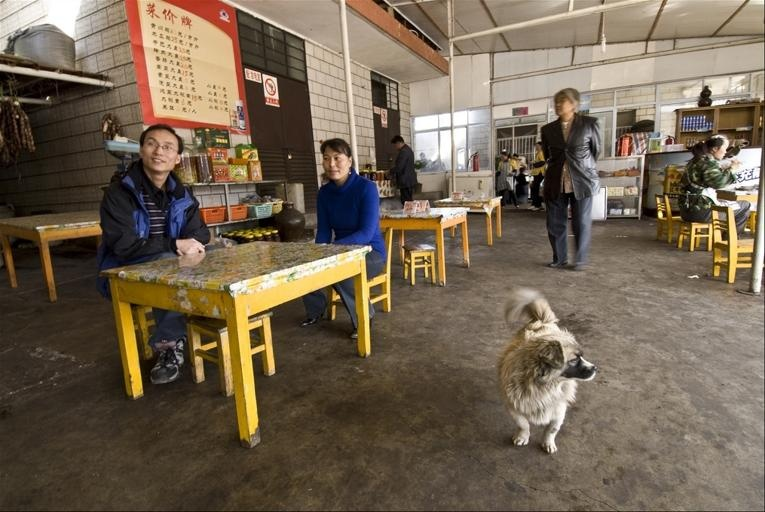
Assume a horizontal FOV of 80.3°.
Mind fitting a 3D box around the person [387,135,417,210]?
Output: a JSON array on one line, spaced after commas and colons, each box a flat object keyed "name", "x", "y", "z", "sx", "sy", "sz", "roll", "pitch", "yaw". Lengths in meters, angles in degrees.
[{"name": "person", "x": 0.429, "y": -1.901, "z": 10.153, "sx": 0.559, "sy": 1.393, "sz": 1.621, "roll": -3, "pitch": 10, "yaw": 2}]

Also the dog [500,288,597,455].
[{"name": "dog", "x": 0.922, "y": 0.681, "z": 3.171, "sx": 0.464, "sy": 0.675, "sz": 1.362, "roll": 1, "pitch": 10, "yaw": 9}]

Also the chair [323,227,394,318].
[{"name": "chair", "x": -0.247, "y": 0.155, "z": 4.580, "sx": 0.665, "sy": 0.841, "sz": 0.655, "roll": 0, "pitch": 11, "yaw": 11}]

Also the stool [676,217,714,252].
[{"name": "stool", "x": 4.452, "y": -0.307, "z": 6.461, "sx": 0.501, "sy": 0.449, "sz": 0.482, "roll": -1, "pitch": 5, "yaw": -3}]

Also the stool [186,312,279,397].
[{"name": "stool", "x": -1.113, "y": 0.642, "z": 3.671, "sx": 0.681, "sy": 0.615, "sz": 0.672, "roll": 5, "pitch": 11, "yaw": 32}]

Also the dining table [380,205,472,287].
[{"name": "dining table", "x": 0.420, "y": -0.302, "z": 5.736, "sx": 1.133, "sy": 0.851, "sz": 1.186, "roll": 4, "pitch": 13, "yaw": 27}]

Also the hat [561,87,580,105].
[{"name": "hat", "x": 2.285, "y": -1.963, "z": 5.506, "sx": 0.229, "sy": 0.212, "sz": 0.168, "roll": 13, "pitch": 45, "yaw": 21}]

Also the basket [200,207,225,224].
[{"name": "basket", "x": -2.612, "y": -0.627, "z": 7.012, "sx": 0.220, "sy": 0.150, "sz": 0.305, "roll": 4, "pitch": 11, "yaw": 20}]

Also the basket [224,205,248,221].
[{"name": "basket", "x": -2.363, "y": -0.703, "z": 7.399, "sx": 0.207, "sy": 0.135, "sz": 0.290, "roll": 3, "pitch": 9, "yaw": 21}]

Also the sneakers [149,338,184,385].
[{"name": "sneakers", "x": -1.728, "y": 0.874, "z": 3.684, "sx": 0.174, "sy": 0.264, "sz": 0.442, "roll": 9, "pitch": 5, "yaw": -8}]

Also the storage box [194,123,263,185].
[{"name": "storage box", "x": -2.551, "y": -1.642, "z": 7.378, "sx": 0.411, "sy": 0.944, "sz": 1.132, "roll": 4, "pitch": 15, "yaw": 15}]

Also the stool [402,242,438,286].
[{"name": "stool", "x": 0.443, "y": 0.100, "z": 5.631, "sx": 0.510, "sy": 0.479, "sz": 0.488, "roll": -1, "pitch": 5, "yaw": -4}]

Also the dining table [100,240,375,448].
[{"name": "dining table", "x": -1.041, "y": 0.483, "z": 3.658, "sx": 1.693, "sy": 0.908, "sz": 1.738, "roll": 0, "pitch": 11, "yaw": 18}]

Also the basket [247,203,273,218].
[{"name": "basket", "x": -2.046, "y": -0.764, "z": 7.604, "sx": 0.237, "sy": 0.144, "sz": 0.339, "roll": 11, "pitch": 18, "yaw": 38}]

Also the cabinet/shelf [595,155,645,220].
[{"name": "cabinet/shelf", "x": 5.046, "y": -1.472, "z": 9.709, "sx": 1.571, "sy": 1.348, "sz": 0.587, "roll": 2, "pitch": 4, "yaw": 1}]

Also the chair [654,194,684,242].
[{"name": "chair", "x": 4.555, "y": -0.594, "z": 7.164, "sx": 0.524, "sy": 0.611, "sz": 0.498, "roll": 7, "pitch": 11, "yaw": 43}]

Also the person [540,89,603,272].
[{"name": "person", "x": 2.373, "y": -0.963, "z": 5.820, "sx": 0.685, "sy": 2.210, "sz": 0.503, "roll": 1, "pitch": 12, "yaw": 22}]

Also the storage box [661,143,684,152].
[{"name": "storage box", "x": 6.013, "y": -2.237, "z": 9.421, "sx": 0.256, "sy": 0.144, "sz": 0.244, "roll": -3, "pitch": 5, "yaw": 1}]

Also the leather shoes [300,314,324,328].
[{"name": "leather shoes", "x": -0.710, "y": 0.630, "z": 4.502, "sx": 0.241, "sy": 0.096, "sz": 0.085, "roll": -19, "pitch": 4, "yaw": -12}]
